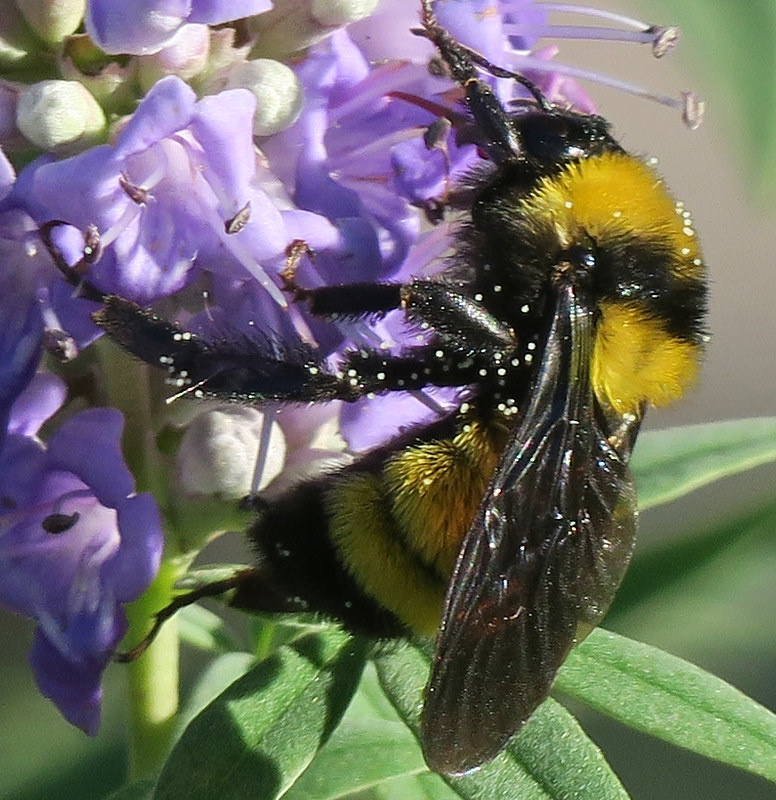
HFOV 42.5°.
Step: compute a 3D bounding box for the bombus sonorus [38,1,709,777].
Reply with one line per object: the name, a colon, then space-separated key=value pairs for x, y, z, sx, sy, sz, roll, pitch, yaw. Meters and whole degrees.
bombus sonorus: x=-0.028 y=-0.036 z=0.614 sx=0.174 sy=0.364 sz=0.450 roll=15 pitch=69 yaw=35
